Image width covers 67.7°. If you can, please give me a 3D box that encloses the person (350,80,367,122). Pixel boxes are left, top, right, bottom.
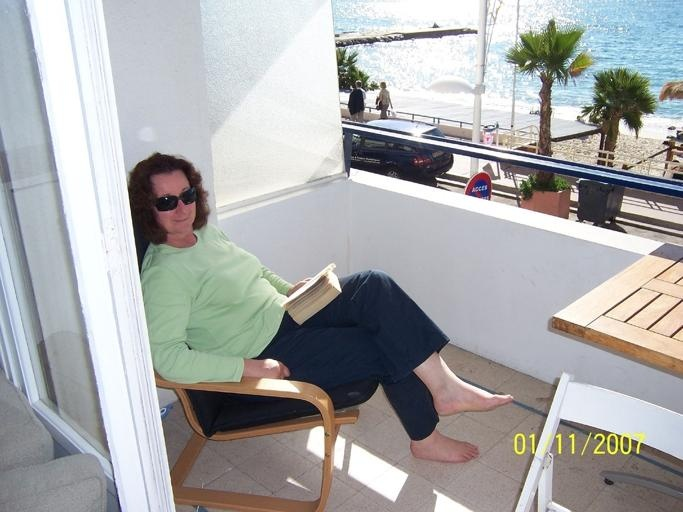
[{"bbox_3d":[0.458,-4.253,14.194,0.486,1.405,0.369,0,54,0],"label":"person"}]

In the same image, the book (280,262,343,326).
[{"bbox_3d":[-0.120,0.219,2.323,0.223,0.200,0.072,-13,10,17],"label":"book"}]

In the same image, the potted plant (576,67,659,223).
[{"bbox_3d":[8.561,-4.066,15.932,1.455,3.151,1.514,30,61,30],"label":"potted plant"}]

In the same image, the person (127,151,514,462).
[{"bbox_3d":[-0.140,0.268,2.425,1.699,1.487,0.914,2,23,18],"label":"person"}]
